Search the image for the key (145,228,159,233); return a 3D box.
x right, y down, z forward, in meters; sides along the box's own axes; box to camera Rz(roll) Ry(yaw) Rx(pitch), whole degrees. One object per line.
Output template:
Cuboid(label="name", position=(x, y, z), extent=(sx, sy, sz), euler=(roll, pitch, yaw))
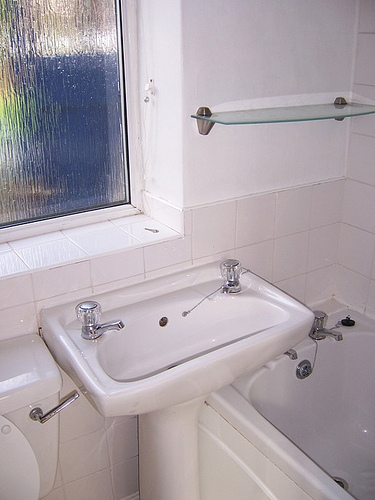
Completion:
Cuboid(label="key", position=(-0.113, -0.064, 1.268), extent=(0.043, 0.007, 0.012), euler=(15, -9, 39))

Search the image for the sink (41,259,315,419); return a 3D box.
Cuboid(label="sink", position=(-0.011, 0.198, 1.045), extent=(0.621, 0.225, 0.455), euler=(-11, 18, -33))
